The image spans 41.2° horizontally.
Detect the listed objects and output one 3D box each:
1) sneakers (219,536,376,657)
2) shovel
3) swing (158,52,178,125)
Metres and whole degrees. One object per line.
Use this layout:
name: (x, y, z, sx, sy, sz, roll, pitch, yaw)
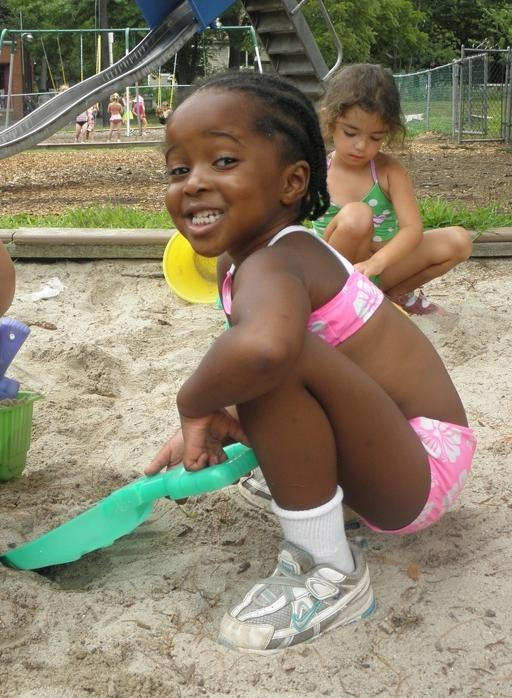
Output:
sneakers: (0.089, 0.459, 1.323, 0.300, 0.123, 0.140, -13, 19, -19)
shovel: (-0.305, 0.391, 1.652, 0.570, 0.113, 0.171, -28, -14, 14)
swing: (-2.231, -6.185, 16.327, 0.361, 1.535, 0.401, -16, 37, -21)
